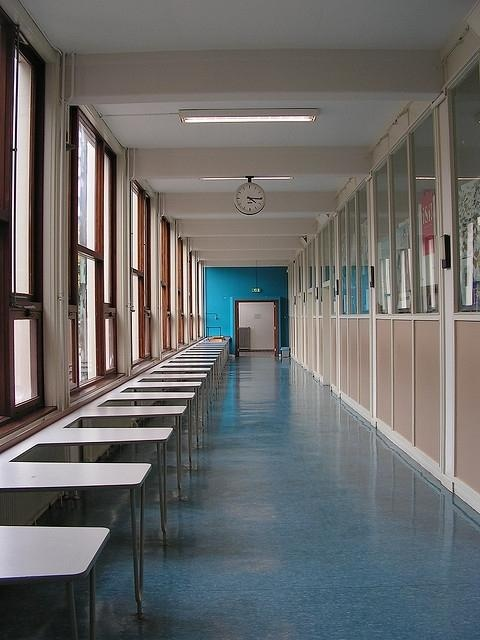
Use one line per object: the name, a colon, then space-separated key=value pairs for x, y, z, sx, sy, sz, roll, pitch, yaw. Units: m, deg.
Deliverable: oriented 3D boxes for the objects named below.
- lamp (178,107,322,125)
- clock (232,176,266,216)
lamp: x=0.079 y=-1.932 z=4.926 sx=1.290 sy=0.127 sz=0.266 roll=3 pitch=2 yaw=0
clock: x=0.158 y=-1.756 z=7.269 sx=0.390 sy=0.564 sz=0.440 roll=3 pitch=2 yaw=20
